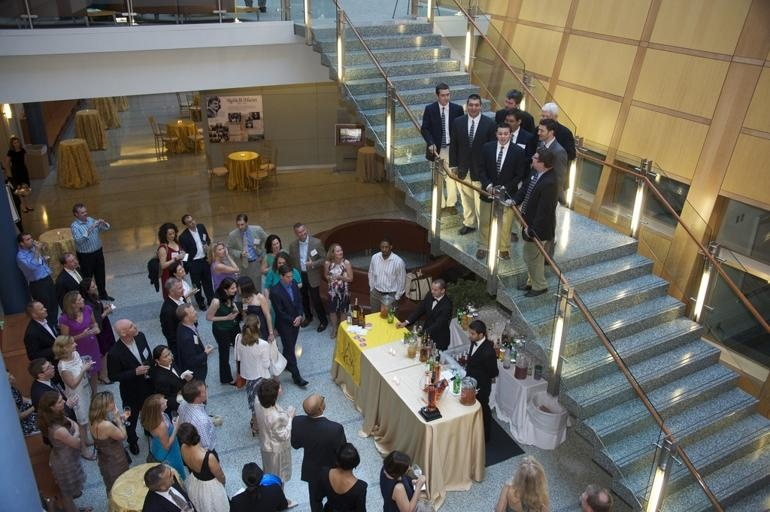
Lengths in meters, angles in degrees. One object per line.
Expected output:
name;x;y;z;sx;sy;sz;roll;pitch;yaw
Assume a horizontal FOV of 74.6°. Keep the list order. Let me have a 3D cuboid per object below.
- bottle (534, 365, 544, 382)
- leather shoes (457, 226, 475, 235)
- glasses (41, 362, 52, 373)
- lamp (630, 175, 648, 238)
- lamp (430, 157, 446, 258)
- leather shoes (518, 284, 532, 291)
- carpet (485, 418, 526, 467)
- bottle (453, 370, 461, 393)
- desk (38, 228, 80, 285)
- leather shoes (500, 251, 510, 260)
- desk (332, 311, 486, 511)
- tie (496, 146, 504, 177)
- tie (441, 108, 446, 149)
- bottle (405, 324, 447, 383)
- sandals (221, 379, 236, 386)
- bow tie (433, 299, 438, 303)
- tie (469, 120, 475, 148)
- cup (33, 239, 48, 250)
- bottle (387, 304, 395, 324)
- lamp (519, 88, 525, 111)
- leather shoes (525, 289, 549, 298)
bottle;2.413;1.844;8.032;0.156;0.277;0.102;5;26;13
leather shoes;1.312;-0.411;8.345;0.248;0.110;0.101;-3;67;6
glasses;-4.581;1.507;6.846;0.097;0.032;0.097;-7;19;-29
lamp;4.223;-0.798;8.513;0.183;0.961;0.165;19;32;37
lamp;0.873;-0.774;8.514;0.267;1.631;0.284;1;25;5
leather shoes;2.101;0.480;7.647;0.171;0.095;0.065;13;29;25
carpet;1.725;2.944;8.066;0.675;0.107;0.742;-10;28;-18
bottle;1.039;1.837;7.455;0.118;0.261;0.254;2;26;6
desk;-7.313;-0.046;11.420;0.609;0.895;0.721;-19;31;-33
leather shoes;1.785;-0.007;7.630;0.080;0.098;0.145;-3;54;-2
desk;0.347;2.437;7.795;1.083;1.471;2.402;-20;32;-34
tie;1.744;-1.467;7.764;0.116;0.363;0.101;6;26;15
tie;1.009;-2.215;8.753;0.152;0.666;0.152;1;25;4
bottle;0.619;1.554;7.957;0.296;1.102;0.259;-13;26;-2
sandals;-2.785;2.233;8.923;0.240;0.060;0.076;-2;26;-2
bow tie;0.806;0.744;8.295;0.093;0.072;0.050;9;27;20
tie;1.399;-2.000;8.230;0.104;0.340;0.090;17;31;34
cup;-6.853;-0.212;10.063;0.484;0.124;0.177;-11;14;44
bottle;0.080;1.029;8.885;0.157;0.289;0.165;-1;24;0
lamp;2.488;-2.814;9.243;0.107;0.290;0.244;2;26;6
leather shoes;2.240;0.529;7.569;0.299;0.140;0.113;-7;12;-20
